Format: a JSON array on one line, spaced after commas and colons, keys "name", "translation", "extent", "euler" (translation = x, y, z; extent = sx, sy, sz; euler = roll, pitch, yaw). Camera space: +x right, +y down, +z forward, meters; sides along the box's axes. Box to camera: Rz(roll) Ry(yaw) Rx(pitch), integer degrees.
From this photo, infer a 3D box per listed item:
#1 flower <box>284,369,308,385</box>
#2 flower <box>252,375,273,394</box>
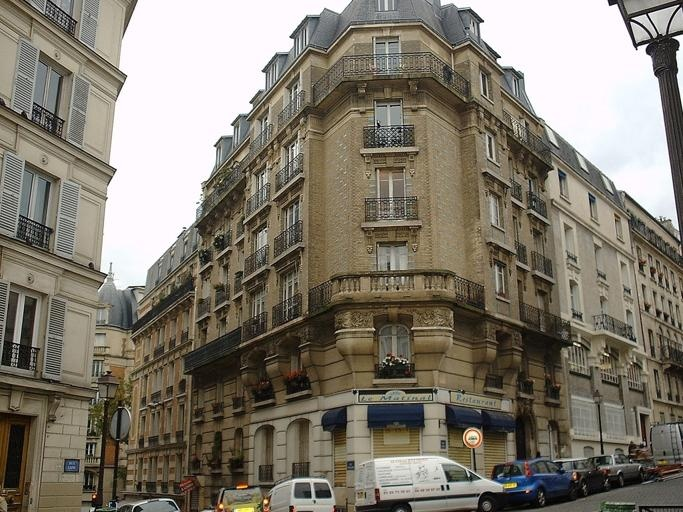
[{"name": "flower", "translation": [-2.222, 6.203, 37.136], "extent": [0.804, 0.581, 0.864], "euler": [0, -8, 16]}, {"name": "flower", "translation": [-4.304, 6.944, 40.320], "extent": [0.925, 1.171, 1.825], "euler": [1, -26, -9]}]
